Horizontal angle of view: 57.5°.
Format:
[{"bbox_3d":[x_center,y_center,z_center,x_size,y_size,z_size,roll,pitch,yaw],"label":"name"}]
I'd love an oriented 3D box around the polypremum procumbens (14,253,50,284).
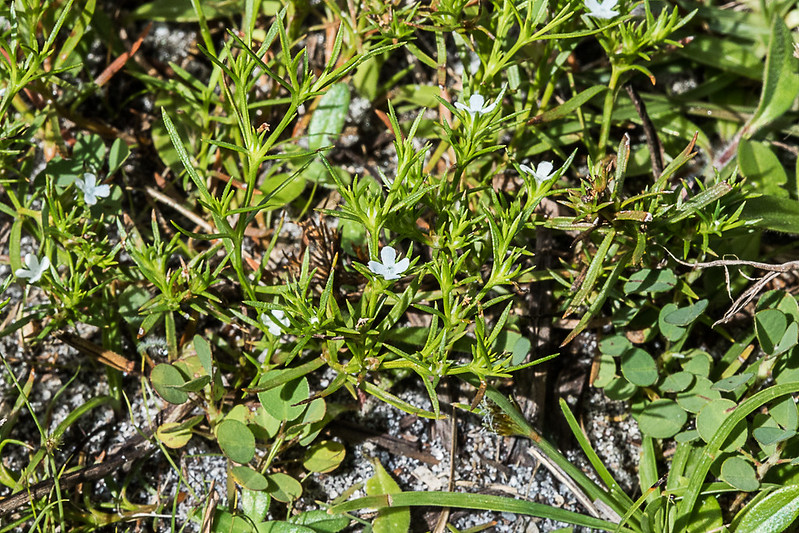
[{"bbox_3d":[-1.400,-0.012,2.785,0.119,0.045,0.122,-42,75,-4],"label":"polypremum procumbens"}]
